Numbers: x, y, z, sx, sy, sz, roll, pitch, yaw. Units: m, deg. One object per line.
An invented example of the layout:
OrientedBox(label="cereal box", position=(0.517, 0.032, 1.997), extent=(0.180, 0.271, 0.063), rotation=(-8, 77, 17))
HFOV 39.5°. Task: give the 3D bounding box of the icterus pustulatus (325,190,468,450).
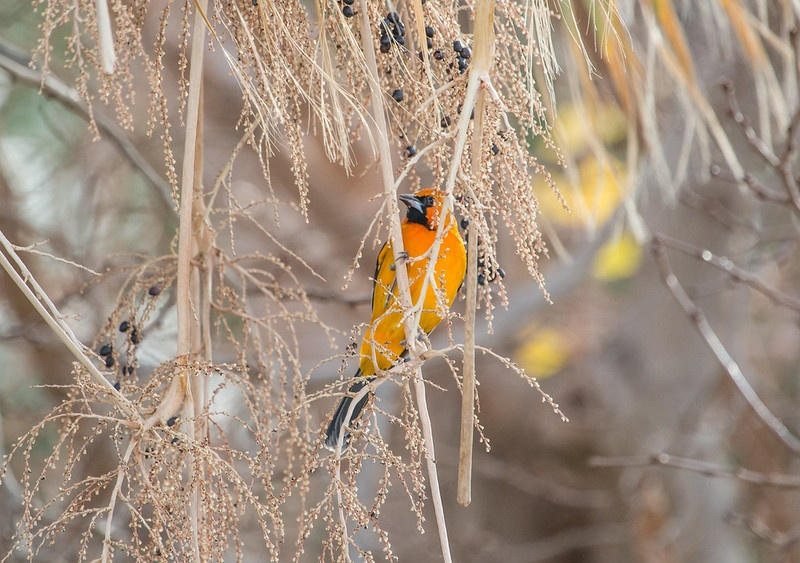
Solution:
OrientedBox(label="icterus pustulatus", position=(-0.024, 0.090, 3.299), extent=(0.269, 0.201, 0.828), rotation=(8, 77, 59))
